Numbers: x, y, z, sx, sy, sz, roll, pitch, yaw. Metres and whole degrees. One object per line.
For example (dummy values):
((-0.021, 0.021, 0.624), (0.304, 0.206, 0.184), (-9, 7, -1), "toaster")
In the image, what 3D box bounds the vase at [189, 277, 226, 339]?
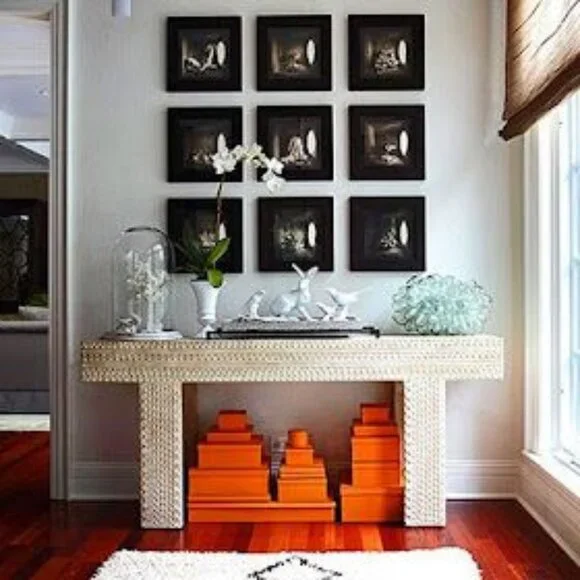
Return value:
((-0.379, 0.069, 2.667), (0.198, 0.289, 0.222), (-2, 3, -43), "vase")

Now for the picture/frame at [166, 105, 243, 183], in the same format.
((-0.419, -0.702, 2.866), (0.340, 0.397, 0.026), (0, -2, 0), "picture/frame")

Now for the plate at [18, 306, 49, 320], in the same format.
((-2.328, 0.206, 5.413), (0.289, 0.115, 0.101), (0, 0, 16), "plate")

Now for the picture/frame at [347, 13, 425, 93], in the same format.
((0.473, -1.148, 2.898), (0.351, 0.019, 0.390), (3, -34, 12), "picture/frame")

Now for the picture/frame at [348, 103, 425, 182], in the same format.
((0.471, -0.726, 2.888), (0.355, 0.401, 0.016), (3, 47, 14), "picture/frame")

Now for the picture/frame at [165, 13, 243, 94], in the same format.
((-0.420, -1.151, 2.889), (0.321, 0.368, 0.028), (0, 2, 0), "picture/frame")

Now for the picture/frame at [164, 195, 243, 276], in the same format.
((-0.415, -0.272, 2.929), (0.363, 0.412, 0.028), (-3, 31, -11), "picture/frame")

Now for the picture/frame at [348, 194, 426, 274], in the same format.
((0.470, -0.274, 2.867), (0.322, 0.375, 0.028), (0, 1, 1), "picture/frame")

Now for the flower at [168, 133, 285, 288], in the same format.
((-0.264, -0.344, 2.752), (0.428, 0.704, 0.375), (11, 3, 11), "flower")

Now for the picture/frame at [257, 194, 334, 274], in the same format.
((0.031, -0.274, 2.878), (0.331, 0.386, 0.017), (0, -1, 2), "picture/frame")

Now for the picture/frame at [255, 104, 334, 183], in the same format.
((0.028, -0.711, 2.864), (0.359, 0.420, 0.030), (0, 1, 3), "picture/frame")
